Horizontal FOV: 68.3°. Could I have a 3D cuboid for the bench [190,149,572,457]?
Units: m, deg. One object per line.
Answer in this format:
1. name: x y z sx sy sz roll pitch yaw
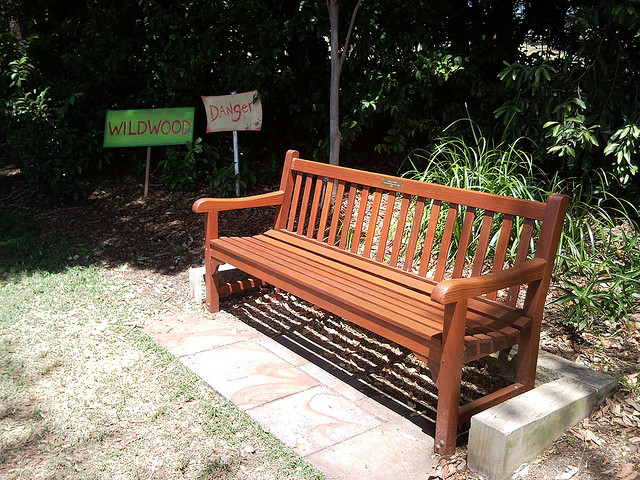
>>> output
1. bench: 0.498 0.497 3.618 0.771 1.065 1.983 -9 17 -36
